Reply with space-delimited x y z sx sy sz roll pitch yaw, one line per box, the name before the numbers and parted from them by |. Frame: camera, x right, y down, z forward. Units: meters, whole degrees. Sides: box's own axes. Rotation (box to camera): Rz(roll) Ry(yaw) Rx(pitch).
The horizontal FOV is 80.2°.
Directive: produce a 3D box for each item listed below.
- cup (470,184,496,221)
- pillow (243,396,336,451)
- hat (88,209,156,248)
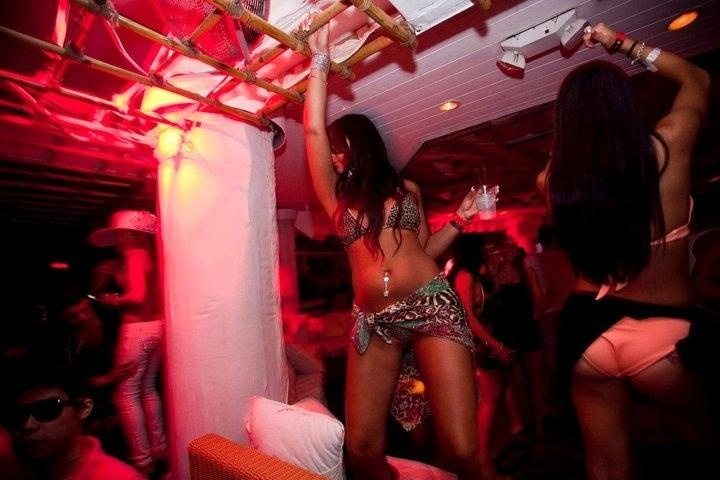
cup | 0.819 -0.236 2.833 0.232 0.240 0.182 -2 -5 11
pillow | -0.515 1.274 2.947 0.378 0.256 0.144 2 -3 28
hat | -2.472 -0.155 4.457 0.617 0.203 0.519 0 3 -29
